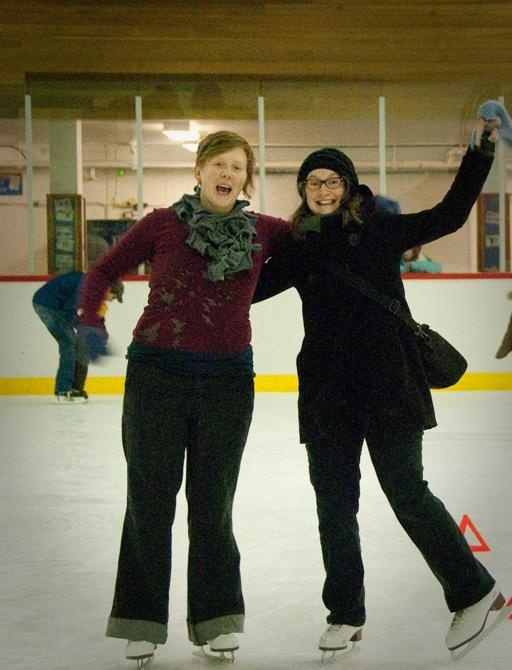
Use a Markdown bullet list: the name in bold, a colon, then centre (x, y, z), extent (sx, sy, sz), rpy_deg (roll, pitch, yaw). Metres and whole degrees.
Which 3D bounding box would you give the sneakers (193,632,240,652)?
- **sneakers**: centre (-0.087, 0.788, 2.043), extent (0.145, 0.045, 0.043), rpy_deg (2, -10, 13)

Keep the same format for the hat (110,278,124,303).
- **hat**: centre (-0.385, -0.127, 2.138), extent (0.034, 0.069, 0.059), rpy_deg (4, -25, 1)

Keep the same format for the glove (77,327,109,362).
- **glove**: centre (-0.429, 0.022, 2.077), extent (0.087, 0.091, 0.033), rpy_deg (-20, 14, 0)

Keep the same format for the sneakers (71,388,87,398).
- **sneakers**: centre (-1.707, 0.563, 7.639), extent (0.155, 0.076, 0.075), rpy_deg (7, -7, 0)

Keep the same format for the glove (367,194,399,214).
- **glove**: centre (0.361, -0.363, 2.188), extent (0.069, 0.030, 0.077), rpy_deg (13, 7, 6)

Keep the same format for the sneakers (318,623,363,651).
- **sneakers**: centre (0.213, 0.778, 2.030), extent (0.152, 0.053, 0.051), rpy_deg (10, -14, -36)

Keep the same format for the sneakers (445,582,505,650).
- **sneakers**: centre (0.566, 0.735, 2.048), extent (0.166, 0.153, 0.061), rpy_deg (0, 5, -26)

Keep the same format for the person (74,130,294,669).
- **person**: centre (-0.191, 0.153, 2.073), extent (0.559, 1.392, 0.263), rpy_deg (1, 4, -8)
